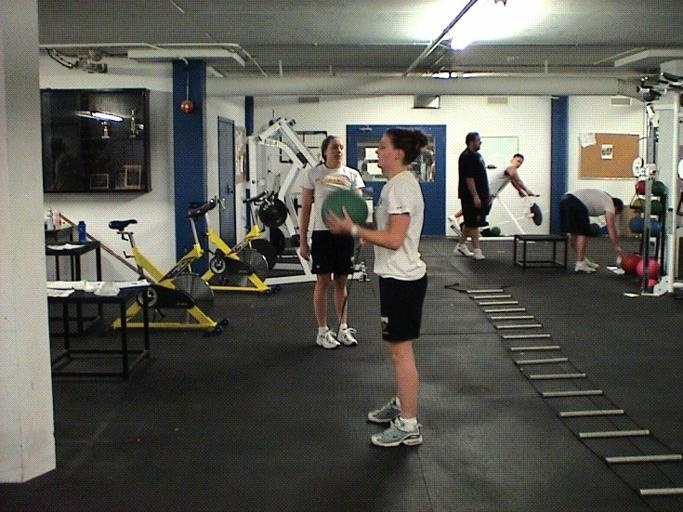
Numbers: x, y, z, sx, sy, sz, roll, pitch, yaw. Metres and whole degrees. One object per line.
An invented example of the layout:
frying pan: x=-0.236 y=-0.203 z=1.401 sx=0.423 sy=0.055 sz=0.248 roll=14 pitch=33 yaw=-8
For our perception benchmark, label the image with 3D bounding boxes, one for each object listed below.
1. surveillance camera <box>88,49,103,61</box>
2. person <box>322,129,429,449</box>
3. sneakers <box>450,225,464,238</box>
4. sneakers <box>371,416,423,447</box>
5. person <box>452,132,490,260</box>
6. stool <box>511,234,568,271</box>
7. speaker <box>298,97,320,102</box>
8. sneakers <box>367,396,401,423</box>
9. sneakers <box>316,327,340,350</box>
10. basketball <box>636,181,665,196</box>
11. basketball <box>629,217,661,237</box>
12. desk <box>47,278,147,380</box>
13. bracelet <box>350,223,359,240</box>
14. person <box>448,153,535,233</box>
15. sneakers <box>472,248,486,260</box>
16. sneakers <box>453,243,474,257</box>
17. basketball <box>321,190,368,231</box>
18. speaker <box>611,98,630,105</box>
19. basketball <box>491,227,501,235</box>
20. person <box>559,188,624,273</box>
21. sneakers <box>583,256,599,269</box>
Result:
surveillance camera: x=-3.229 y=-2.618 z=7.573 sx=0.093 sy=0.153 sz=0.290 roll=-1 pitch=8 yaw=8
person: x=0.289 y=0.197 z=3.528 sx=0.459 sy=1.927 sz=0.567 roll=0 pitch=8 yaw=12
sneakers: x=2.422 y=-0.528 z=12.073 sx=0.199 sy=0.255 sz=0.606 roll=-4 pitch=10 yaw=8
sneakers: x=0.353 y=1.102 z=3.627 sx=0.369 sy=0.198 sz=0.141 roll=0 pitch=-3 yaw=-1
person: x=2.248 y=-0.995 z=9.843 sx=0.545 sy=2.141 sz=1.087 roll=0 pitch=8 yaw=12
stool: x=3.240 y=-0.033 z=9.374 sx=0.731 sy=0.445 sz=0.705 roll=1 pitch=4 yaw=6
speaker: x=-0.718 y=-3.398 z=12.643 sx=0.354 sy=0.121 sz=0.120 roll=-1 pitch=-2 yaw=4
sneakers: x=0.296 y=1.044 z=3.898 sx=0.301 sy=0.144 sz=0.102 roll=0 pitch=-1 yaw=1
sneakers: x=-0.133 y=0.751 z=5.331 sx=0.282 sy=0.186 sz=0.120 roll=1 pitch=3 yaw=21
basketball: x=3.898 y=-0.835 z=7.273 sx=0.311 sy=0.146 sz=0.184 roll=14 pitch=44 yaw=10
basketball: x=4.035 y=-0.396 z=7.633 sx=0.323 sy=0.277 sz=0.268 roll=2 pitch=-10 yaw=6
desk: x=-2.064 y=0.649 z=4.898 sx=0.846 sy=0.642 sz=0.809 roll=-1 pitch=4 yaw=-10
bracelet: x=0.069 y=-0.135 z=3.316 sx=0.056 sy=0.055 sz=0.057 roll=9 pitch=11 yaw=40
person: x=3.011 y=-1.230 z=11.092 sx=1.769 sy=1.493 sz=0.603 roll=0 pitch=15 yaw=1
sneakers: x=2.410 y=-0.021 z=10.103 sx=0.164 sy=0.146 sz=0.347 roll=-1 pitch=8 yaw=14
sneakers: x=2.227 y=-0.092 z=10.339 sx=0.444 sy=0.208 sz=0.149 roll=8 pitch=14 yaw=-13
basketball: x=0.014 y=-0.272 z=3.323 sx=0.260 sy=0.211 sz=0.178 roll=-2 pitch=8 yaw=-2
speaker: x=6.116 y=-3.361 z=12.589 sx=0.366 sy=0.193 sz=0.084 roll=0 pitch=-1 yaw=4
basketball: x=3.324 y=-0.524 z=12.379 sx=0.168 sy=0.149 sz=0.156 roll=6 pitch=-11 yaw=-11
person: x=3.687 y=-0.356 z=8.527 sx=0.806 sy=1.240 sz=0.557 roll=2 pitch=9 yaw=23
sneakers: x=3.966 y=0.108 z=9.140 sx=0.300 sy=0.124 sz=0.100 roll=15 pitch=11 yaw=-7
